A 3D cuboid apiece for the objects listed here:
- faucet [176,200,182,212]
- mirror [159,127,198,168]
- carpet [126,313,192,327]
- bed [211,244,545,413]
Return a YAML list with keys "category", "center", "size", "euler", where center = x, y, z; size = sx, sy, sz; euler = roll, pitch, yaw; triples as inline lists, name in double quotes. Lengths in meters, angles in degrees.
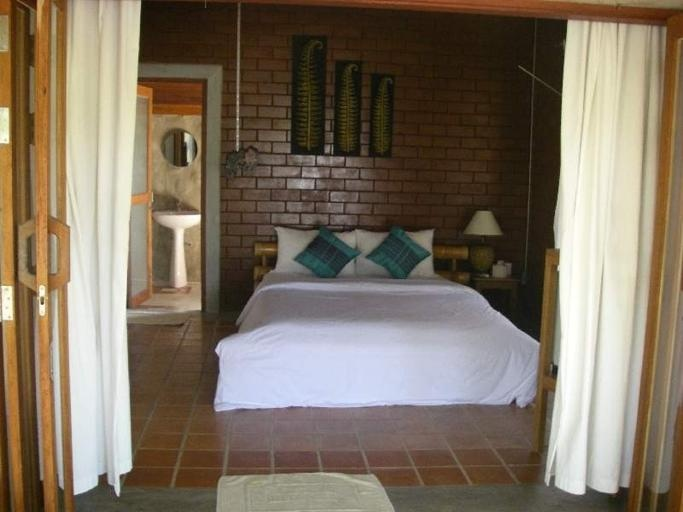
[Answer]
- category: "faucet"
  center: [-2.285, -0.721, 8.978]
  size: [0.076, 0.143, 0.159]
  euler: [-1, 11, -13]
- category: "mirror"
  center: [-2.262, -1.517, 8.923]
  size: [0.536, 0.509, 0.121]
  euler: [7, 5, 1]
- category: "carpet"
  center: [-1.976, 0.675, 6.918]
  size: [0.635, 0.038, 0.592]
  euler: [1, 10, -3]
- category: "bed"
  center: [0.240, 0.675, 5.332]
  size: [2.414, 0.649, 1.475]
  euler: [0, 11, -5]
